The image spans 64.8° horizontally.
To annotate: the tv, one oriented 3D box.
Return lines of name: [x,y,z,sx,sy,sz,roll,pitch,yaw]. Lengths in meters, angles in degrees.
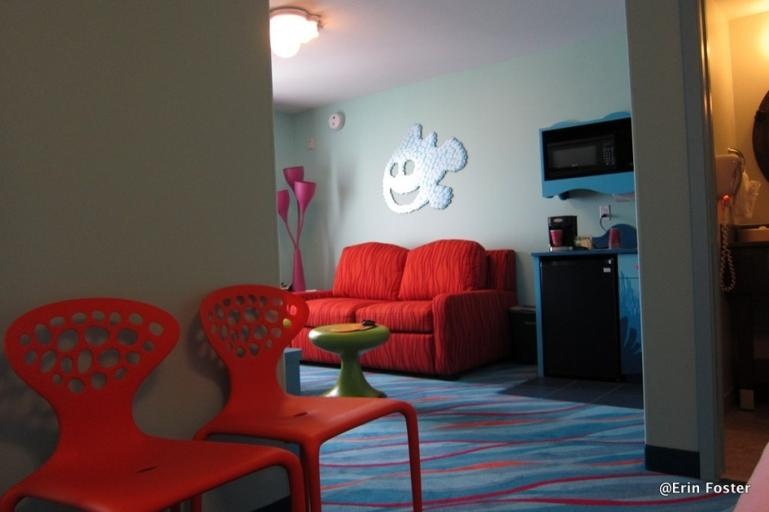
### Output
tv: [1.679,-0.778,4.962,0.713,0.655,0.386,-2,3,36]

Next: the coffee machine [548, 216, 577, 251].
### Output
coffee machine: [1.363,-0.145,4.744,0.196,0.269,0.220,-2,-15,14]

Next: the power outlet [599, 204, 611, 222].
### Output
power outlet: [1.799,-0.351,4.989,0.095,0.148,0.041,0,6,24]

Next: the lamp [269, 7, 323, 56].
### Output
lamp: [-0.660,-1.712,4.612,0.384,0.296,0.341,-4,5,-8]

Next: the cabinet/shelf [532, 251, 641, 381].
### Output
cabinet/shelf: [1.563,0.473,4.777,0.846,1.274,0.841,-4,-7,30]

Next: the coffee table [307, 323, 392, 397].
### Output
coffee table: [-0.228,0.739,4.211,0.538,0.481,0.519,-1,-4,-26]
